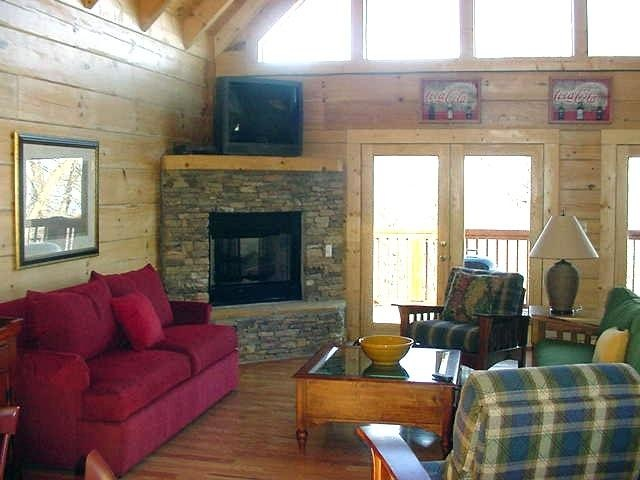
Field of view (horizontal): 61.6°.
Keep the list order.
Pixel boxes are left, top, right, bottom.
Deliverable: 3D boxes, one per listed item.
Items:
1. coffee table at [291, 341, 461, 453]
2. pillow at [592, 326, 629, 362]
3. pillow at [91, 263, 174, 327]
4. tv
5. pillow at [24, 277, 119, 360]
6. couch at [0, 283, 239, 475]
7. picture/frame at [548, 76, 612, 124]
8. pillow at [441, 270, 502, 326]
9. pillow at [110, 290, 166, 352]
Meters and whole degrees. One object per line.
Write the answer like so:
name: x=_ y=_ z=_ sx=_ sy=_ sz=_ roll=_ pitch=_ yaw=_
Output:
coffee table: x=0.449 y=0.960 z=4.314 sx=1.160 sy=0.708 sz=1.471 roll=2 pitch=24 yaw=9
pillow: x=1.873 y=0.675 z=3.466 sx=0.097 sy=0.214 sz=0.272 roll=13 pitch=7 yaw=6
pillow: x=-1.552 y=0.461 z=4.396 sx=0.192 sy=0.410 sz=0.553 roll=-22 pitch=-8 yaw=22
tv: x=-0.548 y=-1.445 z=6.246 sx=1.060 sy=0.836 sz=0.585 roll=7 pitch=19 yaw=19
pillow: x=-1.735 y=0.618 z=3.923 sx=0.306 sy=0.546 sz=0.874 roll=-11 pitch=-4 yaw=9
couch: x=-1.339 y=0.465 z=3.852 sx=1.002 sy=1.206 sz=2.161 roll=-1 pitch=1 yaw=14
picture/frame: x=2.938 y=-1.585 z=6.030 sx=0.563 sy=0.398 sz=0.076 roll=1 pitch=1 yaw=10
pillow: x=1.478 y=0.567 z=5.228 sx=0.153 sy=0.463 sz=0.498 roll=17 pitch=-3 yaw=-42
pillow: x=-1.384 y=0.610 z=4.150 sx=0.167 sy=0.398 sz=0.407 roll=-34 pitch=-6 yaw=31
